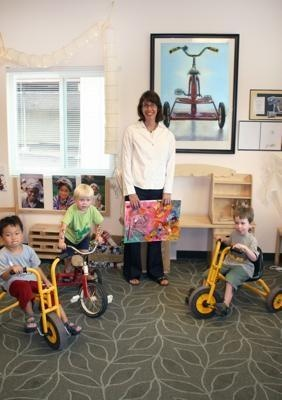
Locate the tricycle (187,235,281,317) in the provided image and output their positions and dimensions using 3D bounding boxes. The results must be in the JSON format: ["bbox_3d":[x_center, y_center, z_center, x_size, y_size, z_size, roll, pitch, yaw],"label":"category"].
[{"bbox_3d":[0.619,0.530,2.410,0.693,0.494,0.452,0,3,-24],"label":"tricycle"}]

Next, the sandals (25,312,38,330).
[{"bbox_3d":[-0.646,0.723,1.964,0.044,0.045,0.120,0,7,-23],"label":"sandals"}]

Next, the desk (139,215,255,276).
[{"bbox_3d":[0.455,0.322,3.273,1.315,0.612,0.507,-1,4,-2],"label":"desk"}]

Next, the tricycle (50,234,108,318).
[{"bbox_3d":[-0.451,0.550,2.395,0.338,0.405,0.669,-3,7,-32],"label":"tricycle"}]

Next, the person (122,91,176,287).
[{"bbox_3d":[0.055,-0.068,2.775,0.441,1.589,0.387,1,5,5],"label":"person"}]

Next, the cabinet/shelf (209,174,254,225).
[{"bbox_3d":[0.860,-0.019,3.119,0.488,0.645,0.338,1,4,2],"label":"cabinet/shelf"}]

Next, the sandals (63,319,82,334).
[{"bbox_3d":[-0.409,0.765,1.974,0.126,0.034,0.050,10,10,40],"label":"sandals"}]

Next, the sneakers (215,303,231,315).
[{"bbox_3d":[0.548,0.723,2.174,0.069,0.083,0.190,6,-12,19],"label":"sneakers"}]

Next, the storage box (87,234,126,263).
[{"bbox_3d":[-0.322,0.458,3.025,0.339,0.086,0.305,0,9,1],"label":"storage box"}]

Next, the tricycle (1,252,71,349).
[{"bbox_3d":[-0.569,0.579,1.906,0.249,0.286,0.503,2,19,-40],"label":"tricycle"}]
